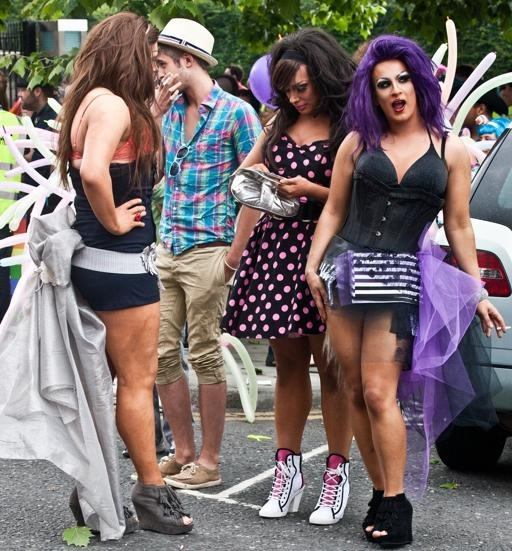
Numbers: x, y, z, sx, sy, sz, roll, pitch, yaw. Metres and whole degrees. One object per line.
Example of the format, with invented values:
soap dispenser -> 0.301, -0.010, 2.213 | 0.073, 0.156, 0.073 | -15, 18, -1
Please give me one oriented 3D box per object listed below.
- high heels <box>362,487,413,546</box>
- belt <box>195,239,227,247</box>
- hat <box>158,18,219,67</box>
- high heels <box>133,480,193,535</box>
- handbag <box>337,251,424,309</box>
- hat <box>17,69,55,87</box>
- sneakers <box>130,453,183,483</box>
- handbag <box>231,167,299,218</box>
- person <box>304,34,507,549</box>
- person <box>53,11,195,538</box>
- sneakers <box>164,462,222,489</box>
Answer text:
high heels -> 0.471, 0.887, 2.341 | 0.188, 0.205, 0.158 | 0, -3, 23
belt -> -0.215, -0.156, 3.168 | 0.157, 0.041, 0.037 | 2, -3, -13
hat -> -0.323, -1.154, 3.202 | 0.231, 0.097, 0.255 | 27, 0, 18
high heels -> -0.353, 0.868, 2.423 | 0.269, 0.182, 0.142 | 2, 3, 4
handbag -> 0.442, 0.012, 2.317 | 0.304, 0.196, 0.141 | 1, -3, 9
hat -> -2.255, -2.034, 6.606 | 0.370, 0.110, 0.385 | 17, 31, 22
sneakers -> -0.484, 0.996, 3.274 | 0.302, 0.121, 0.098 | 3, -12, -5
handbag -> 0.027, -0.333, 2.545 | 0.281, 0.165, 0.092 | 19, 4, 0
person -> 0.532, 0.065, 2.380 | 0.696, 1.854, 0.350 | 1, -3, 3
person -> -0.528, 0.007, 2.329 | 0.362, 1.926, 0.532 | 0, -3, 32
sneakers -> -0.300, 0.971, 3.118 | 0.254, 0.102, 0.107 | 2, -5, -15
